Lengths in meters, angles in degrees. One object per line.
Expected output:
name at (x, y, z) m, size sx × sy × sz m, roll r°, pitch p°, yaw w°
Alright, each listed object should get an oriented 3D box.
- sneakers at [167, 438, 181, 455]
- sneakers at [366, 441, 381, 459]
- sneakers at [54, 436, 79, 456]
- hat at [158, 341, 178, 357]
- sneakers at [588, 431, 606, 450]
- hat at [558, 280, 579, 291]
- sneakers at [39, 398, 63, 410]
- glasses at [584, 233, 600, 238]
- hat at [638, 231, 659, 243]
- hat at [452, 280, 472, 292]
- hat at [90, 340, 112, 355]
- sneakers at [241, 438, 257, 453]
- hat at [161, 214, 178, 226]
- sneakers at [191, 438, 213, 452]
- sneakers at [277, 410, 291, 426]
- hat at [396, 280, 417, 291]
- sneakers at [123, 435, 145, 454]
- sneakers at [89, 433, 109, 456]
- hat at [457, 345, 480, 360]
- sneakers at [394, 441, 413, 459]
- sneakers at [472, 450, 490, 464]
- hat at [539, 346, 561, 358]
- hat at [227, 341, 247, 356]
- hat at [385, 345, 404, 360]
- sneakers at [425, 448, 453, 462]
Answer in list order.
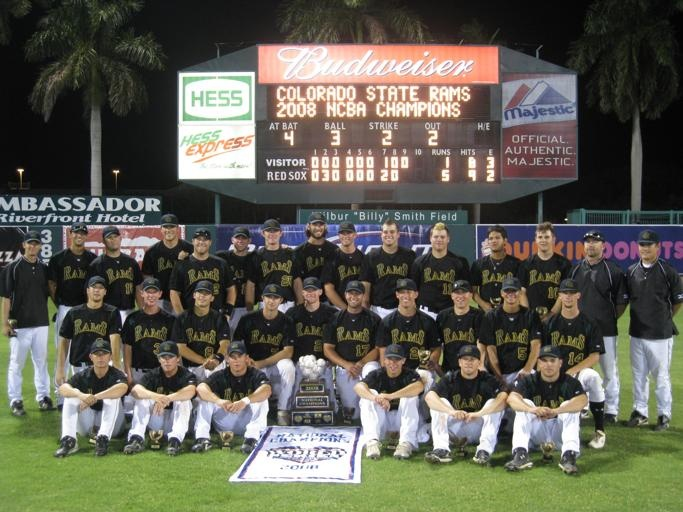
sneakers at (-2.543, 2.867, 13.898) m, size 0.209 × 0.249 × 0.144 m, roll 1°, pitch -5°, yaw -13°
sneakers at (0.449, 2.905, 13.875) m, size 0.247 × 0.268 × 0.223 m, roll -2°, pitch -5°, yaw 16°
sneakers at (-4.173, 2.855, 13.852) m, size 0.337 × 0.302 × 0.175 m, roll 2°, pitch -5°, yaw -18°
hat at (-2.708, 1.438, 14.299) m, size 0.320 × 0.225 × 0.240 m, roll 1°, pitch -5°, yaw -13°
sneakers at (3.902, 2.803, 14.051) m, size 0.286 × 0.285 × 0.185 m, roll -2°, pitch -18°, yaw 4°
hat at (3.566, 0.471, 14.451) m, size 0.277 × 0.208 × 0.262 m, roll -1°, pitch -5°, yaw 15°
sneakers at (-4.914, 2.470, 15.403) m, size 0.472 × 0.204 × 0.162 m, roll -10°, pitch -10°, yaw 38°
glasses at (4.061, -0.326, 14.910) m, size 0.112 × 0.063 × 0.163 m, roll -1°, pitch -9°, yaw 40°
hat at (4.894, -0.290, 14.698) m, size 0.292 × 0.212 × 0.220 m, roll -2°, pitch -5°, yaw 15°
hat at (1.919, 0.487, 14.843) m, size 0.261 × 0.212 × 0.351 m, roll -2°, pitch -5°, yaw 15°
hat at (-3.729, 1.390, 14.172) m, size 0.281 × 0.213 × 0.213 m, roll 1°, pitch -5°, yaw -17°
sneakers at (-1.430, 2.864, 13.958) m, size 0.158 × 0.207 × 0.206 m, roll 27°, pitch -35°, yaw 6°
hat at (-3.014, -0.604, 16.021) m, size 0.211 × 0.169 × 0.288 m, roll 3°, pitch 4°, yaw -11°
sneakers at (-2.148, 2.873, 14.022) m, size 0.293 × 0.188 × 0.149 m, roll 1°, pitch -5°, yaw -10°
sneakers at (-0.950, 2.591, 14.773) m, size 0.159 × 0.236 × 0.238 m, roll -4°, pitch -42°, yaw -6°
hat at (1.044, 0.480, 15.038) m, size 0.291 × 0.227 × 0.535 m, roll -1°, pitch -5°, yaw 7°
sneakers at (-3.160, 2.847, 13.999) m, size 0.353 × 0.277 × 0.211 m, roll 3°, pitch -6°, yaw -29°
sneakers at (-3.652, 2.850, 13.940) m, size 0.190 × 0.303 × 0.267 m, roll 1°, pitch -5°, yaw -9°
hat at (1.949, 1.472, 14.123) m, size 0.338 × 0.223 × 0.332 m, roll -1°, pitch -5°, yaw 6°
sneakers at (0.951, 2.911, 13.883) m, size 0.377 × 0.232 × 0.172 m, roll 4°, pitch -7°, yaw -40°
sneakers at (2.073, 2.969, 13.656) m, size 0.266 × 0.202 × 0.152 m, roll -1°, pitch -5°, yaw 6°
hat at (3.123, 1.432, 13.834) m, size 0.312 × 0.179 × 0.222 m, roll -1°, pitch -5°, yaw 8°
hat at (-1.656, 1.442, 14.387) m, size 0.272 × 0.216 × 0.211 m, roll 1°, pitch -5°, yaw -8°
hat at (0.806, 1.478, 14.282) m, size 0.296 × 0.205 × 0.205 m, roll 0°, pitch -5°, yaw -1°
sneakers at (1.430, 2.975, 13.738) m, size 0.446 × 0.167 × 0.205 m, roll 6°, pitch -29°, yaw -5°
